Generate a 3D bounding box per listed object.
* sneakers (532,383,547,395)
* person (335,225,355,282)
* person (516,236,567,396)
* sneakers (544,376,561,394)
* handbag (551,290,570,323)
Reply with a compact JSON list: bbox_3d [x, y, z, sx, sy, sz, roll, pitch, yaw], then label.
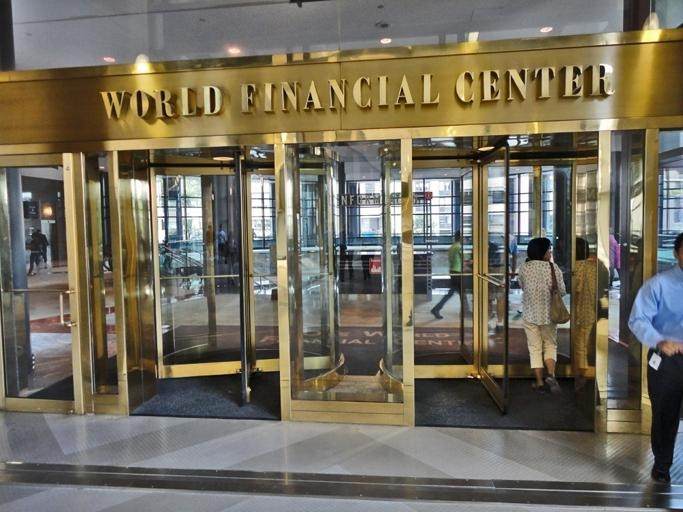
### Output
[{"bbox_3d":[2.472,1.664,8.608,0.076,0.075,0.178,-2,7,2],"label":"sneakers"},{"bbox_3d":[0.033,-0.013,8.716,0.312,0.736,0.093,-5,5,-28],"label":"person"},{"bbox_3d":[2.541,0.718,8.711,0.534,1.883,0.516,-1,5,17],"label":"person"},{"bbox_3d":[2.609,1.600,8.554,0.112,0.254,0.110,-12,36,44],"label":"sneakers"},{"bbox_3d":[2.691,0.636,8.510,0.191,0.480,0.391,-10,-10,24],"label":"handbag"}]
